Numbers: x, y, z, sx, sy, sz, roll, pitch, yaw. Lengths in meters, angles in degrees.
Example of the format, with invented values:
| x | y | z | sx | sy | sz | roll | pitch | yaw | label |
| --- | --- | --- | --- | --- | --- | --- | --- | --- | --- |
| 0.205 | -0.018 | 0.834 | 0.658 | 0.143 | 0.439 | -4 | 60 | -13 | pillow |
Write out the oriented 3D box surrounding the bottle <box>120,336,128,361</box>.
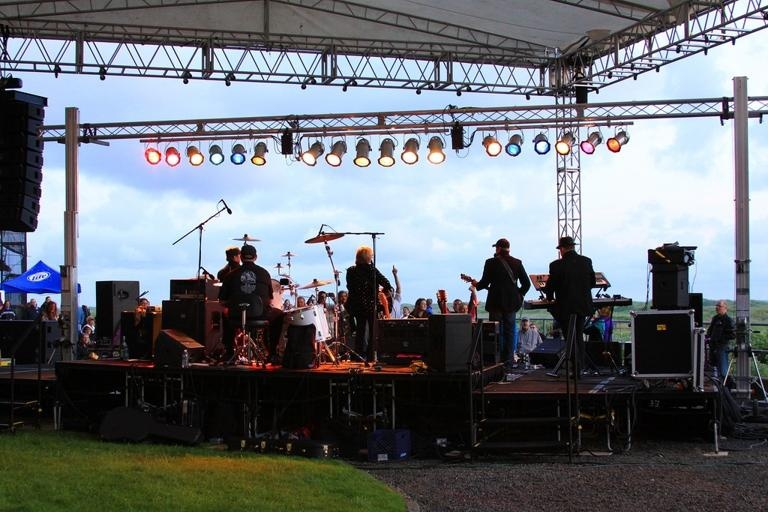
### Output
| x | y | z | sx | sy | sz | roll | pitch | yaw | label |
| --- | --- | --- | --- | --- | --- | --- | --- | --- | --- |
| -5.900 | 2.054 | 27.227 | 0.173 | 0.557 | 0.426 | 3 | -10 | -14 | bottle |

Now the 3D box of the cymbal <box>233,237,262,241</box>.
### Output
| x | y | z | sx | sy | sz | roll | pitch | yaw | label |
| --- | --- | --- | --- | --- | --- | --- | --- | --- | --- |
| -3.290 | -0.425 | 28.504 | 0.291 | 0.068 | 0.282 | 2 | -4 | -38 | cymbal |

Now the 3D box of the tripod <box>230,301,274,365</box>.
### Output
| x | y | z | sx | sy | sz | roll | pitch | yaw | label |
| --- | --- | --- | --- | --- | --- | --- | --- | --- | --- |
| -3.002 | 1.536 | 25.967 | 0.911 | 1.588 | 0.637 | 2 | -2 | -5 | tripod |

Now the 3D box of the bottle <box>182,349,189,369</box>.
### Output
| x | y | z | sx | sy | sz | roll | pitch | yaw | label |
| --- | --- | --- | --- | --- | --- | --- | --- | --- | --- |
| -4.294 | 2.173 | 25.786 | 0.151 | 0.403 | 0.093 | 2 | -10 | -9 | bottle |

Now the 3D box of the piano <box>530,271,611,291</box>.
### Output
| x | y | z | sx | sy | sz | roll | pitch | yaw | label |
| --- | --- | --- | --- | --- | --- | --- | --- | --- | --- |
| 4.046 | 0.511 | 26.249 | 1.760 | 0.418 | 0.622 | -1 | -10 | 7 | piano |

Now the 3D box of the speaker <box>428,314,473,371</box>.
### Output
| x | y | z | sx | sy | sz | roll | pitch | yaw | label |
| --- | --- | --- | --- | --- | --- | --- | --- | --- | --- |
| 1.358 | 1.767 | 24.951 | 0.829 | 1.209 | 0.844 | 1 | 2 | 39 | speaker |

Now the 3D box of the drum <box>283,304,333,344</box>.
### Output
| x | y | z | sx | sy | sz | roll | pitch | yaw | label |
| --- | --- | --- | --- | --- | --- | --- | --- | --- | --- |
| -1.631 | 1.448 | 25.567 | 0.831 | 0.746 | 0.825 | -9 | -5 | 4 | drum |

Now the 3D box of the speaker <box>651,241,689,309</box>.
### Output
| x | y | z | sx | sy | sz | roll | pitch | yaw | label |
| --- | --- | --- | --- | --- | --- | --- | --- | --- | --- |
| 5.985 | 0.407 | 25.089 | 0.945 | 1.413 | 0.515 | -1 | -9 | 4 | speaker |

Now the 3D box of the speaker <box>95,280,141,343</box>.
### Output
| x | y | z | sx | sy | sz | roll | pitch | yaw | label |
| --- | --- | --- | --- | --- | --- | --- | --- | --- | --- |
| -6.473 | 1.317 | 29.026 | 0.542 | 1.519 | 0.812 | 4 | 4 | 39 | speaker |

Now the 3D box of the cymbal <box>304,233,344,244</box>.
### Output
| x | y | z | sx | sy | sz | roll | pitch | yaw | label |
| --- | --- | --- | --- | --- | --- | --- | --- | --- | --- |
| -1.326 | -0.399 | 26.191 | 1.004 | 0.191 | 0.319 | -7 | -12 | 34 | cymbal |
